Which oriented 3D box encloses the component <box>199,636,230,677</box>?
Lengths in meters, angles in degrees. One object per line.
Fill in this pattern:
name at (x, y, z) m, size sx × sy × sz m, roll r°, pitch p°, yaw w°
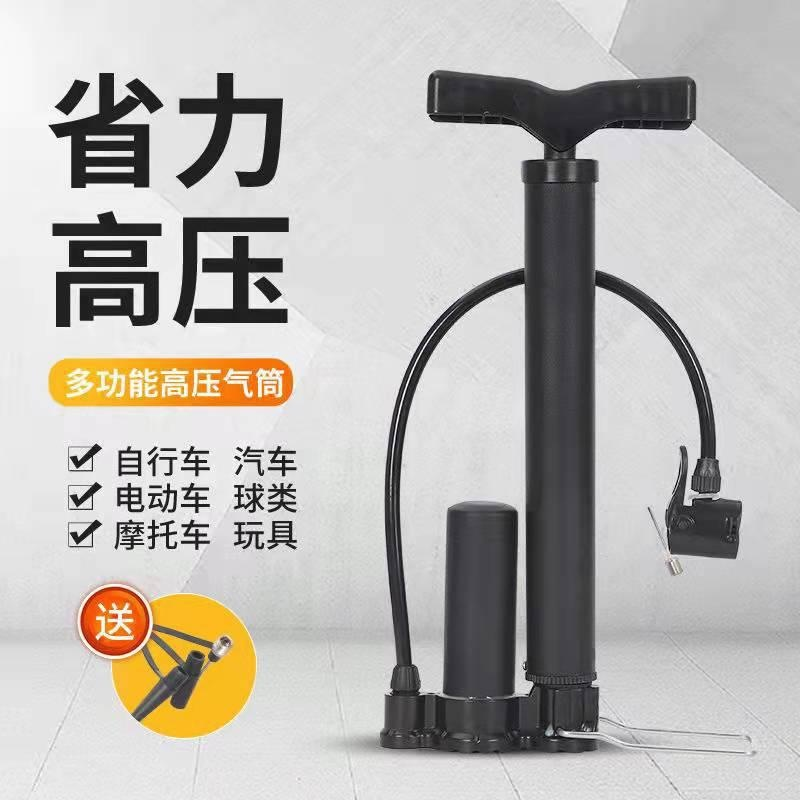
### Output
component at (-0.361, 0.519, 2.378) m, size 0.034 × 0.035 × 0.128 m, roll 26°, pitch -56°, yaw -14°
